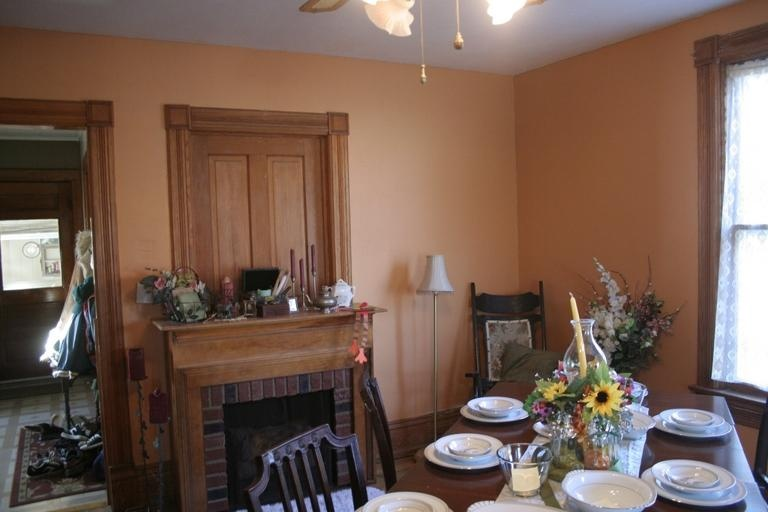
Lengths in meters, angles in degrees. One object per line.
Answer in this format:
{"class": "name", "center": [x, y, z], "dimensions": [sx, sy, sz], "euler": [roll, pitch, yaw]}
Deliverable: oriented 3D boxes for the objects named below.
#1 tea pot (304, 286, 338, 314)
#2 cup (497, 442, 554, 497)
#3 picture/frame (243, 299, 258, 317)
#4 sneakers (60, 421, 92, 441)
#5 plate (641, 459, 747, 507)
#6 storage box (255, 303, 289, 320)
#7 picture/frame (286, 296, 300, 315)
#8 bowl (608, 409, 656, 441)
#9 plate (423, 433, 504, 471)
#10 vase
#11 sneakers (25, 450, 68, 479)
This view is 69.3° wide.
{"class": "tea pot", "center": [-0.512, 0.371, 4.535], "dimensions": [0.193, 0.267, 0.267], "euler": [2, -2, 6]}
{"class": "cup", "center": [0.659, 1.017, 2.574], "dimensions": [0.255, 0.200, 0.269], "euler": [-3, -5, 0]}
{"class": "picture/frame", "center": [-1.029, 0.414, 4.322], "dimensions": [0.132, 0.167, 0.020], "euler": [-1, -9, -13]}
{"class": "sneakers", "center": [-2.963, 1.674, 5.332], "dimensions": [0.315, 0.139, 0.148], "euler": [6, -3, 3]}
{"class": "plate", "center": [1.420, 1.065, 2.580], "dimensions": [0.470, 0.128, 0.253], "euler": [-4, 4, -8]}
{"class": "storage box", "center": [-0.842, 0.414, 4.249], "dimensions": [0.241, 0.105, 0.118], "euler": [-4, 4, -14]}
{"class": "picture/frame", "center": [-0.719, 0.404, 4.422], "dimensions": [0.113, 0.117, 0.031], "euler": [-2, -12, 3]}
{"class": "bowl", "center": [1.252, 0.866, 2.806], "dimensions": [0.258, 0.081, 0.269], "euler": [-3, 4, 0]}
{"class": "plate", "center": [0.407, 1.008, 2.846], "dimensions": [0.236, 0.051, 0.237], "euler": [-1, 5, 35]}
{"class": "vase", "center": [0.971, 0.913, 2.685], "dimensions": [0.214, 0.349, 0.345], "euler": [-15, -35, 29]}
{"class": "sneakers", "center": [-3.002, 1.829, 4.867], "dimensions": [0.455, 0.227, 0.168], "euler": [-1, -6, -10]}
